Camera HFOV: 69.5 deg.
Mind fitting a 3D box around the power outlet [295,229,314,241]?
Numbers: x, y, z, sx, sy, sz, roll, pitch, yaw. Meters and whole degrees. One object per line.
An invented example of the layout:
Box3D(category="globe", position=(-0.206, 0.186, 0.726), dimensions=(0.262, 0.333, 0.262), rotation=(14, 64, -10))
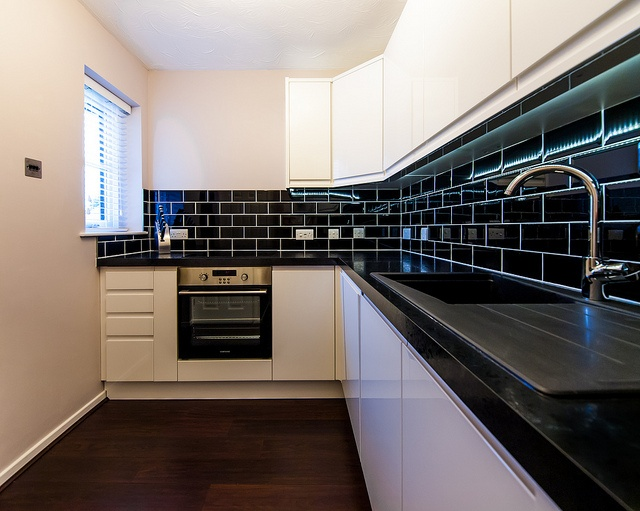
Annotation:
Box3D(category="power outlet", position=(-0.115, -0.165, 3.475), dimensions=(0.121, 0.085, 0.069), rotation=(0, -3, -1))

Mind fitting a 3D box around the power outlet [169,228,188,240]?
Box3D(category="power outlet", position=(-1.049, -0.136, 3.439), dimensions=(0.128, 0.095, 0.076), rotation=(0, 0, -8))

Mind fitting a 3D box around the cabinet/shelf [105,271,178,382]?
Box3D(category="cabinet/shelf", position=(-1.102, 0.414, 2.823), dimensions=(0.464, 0.674, 0.140), rotation=(0, 12, 2))

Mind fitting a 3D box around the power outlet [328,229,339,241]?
Box3D(category="power outlet", position=(0.115, -0.161, 3.529), dimensions=(0.074, 0.084, 0.079), rotation=(0, 3, 1))

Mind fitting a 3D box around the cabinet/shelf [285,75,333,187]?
Box3D(category="cabinet/shelf", position=(-0.070, -0.840, 3.137), dimensions=(0.301, 0.699, 0.131), rotation=(-1, 12, -4))

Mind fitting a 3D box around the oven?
Box3D(category="oven", position=(-0.603, 0.344, 2.981), dimensions=(0.563, 0.591, 0.437), rotation=(0, 0, -12))
